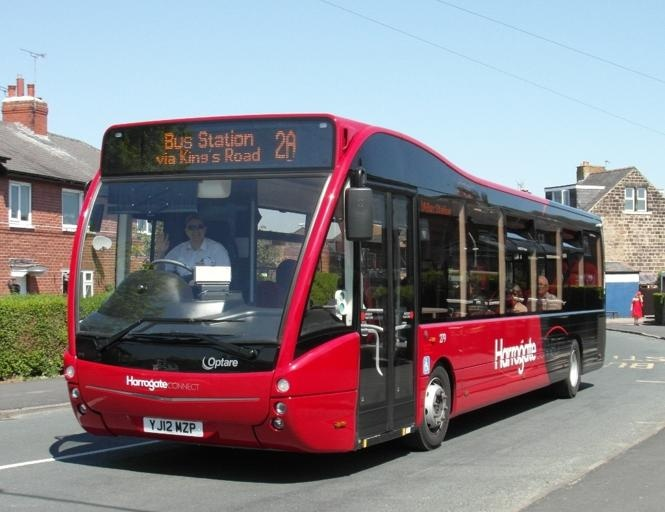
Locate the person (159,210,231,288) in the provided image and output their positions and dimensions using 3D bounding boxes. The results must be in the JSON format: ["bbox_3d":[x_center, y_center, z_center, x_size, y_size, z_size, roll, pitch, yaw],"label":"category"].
[{"bbox_3d":[-1.416,-0.001,7.151,1.056,0.938,0.618,-2,-5,12],"label":"person"}]

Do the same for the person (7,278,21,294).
[{"bbox_3d":[-14.520,1.361,29.533,0.547,0.683,1.002,7,-1,-26],"label":"person"}]

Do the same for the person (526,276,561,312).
[{"bbox_3d":[4.121,0.760,12.491,0.544,0.695,0.915,-7,-14,33],"label":"person"}]

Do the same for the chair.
[{"bbox_3d":[4.797,0.647,13.843,0.913,1.080,3.668,-3,-5,30],"label":"chair"}]

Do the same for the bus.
[{"bbox_3d":[1.094,0.676,10.865,3.490,3.460,10.498,-2,-6,32],"label":"bus"}]
